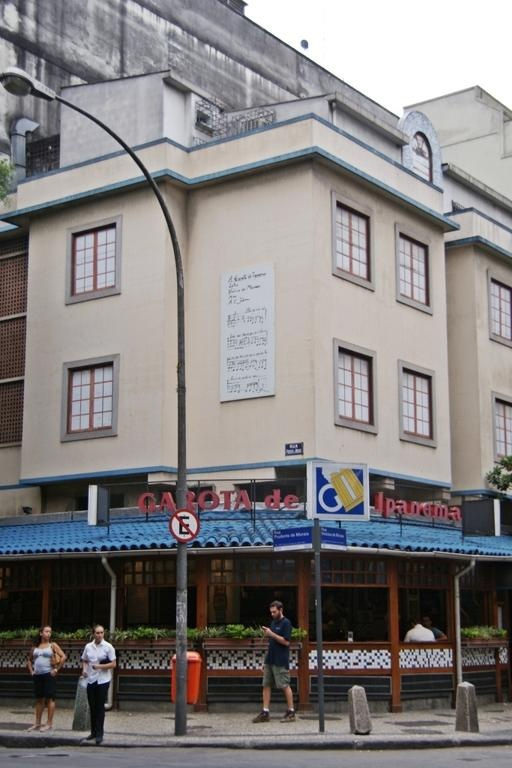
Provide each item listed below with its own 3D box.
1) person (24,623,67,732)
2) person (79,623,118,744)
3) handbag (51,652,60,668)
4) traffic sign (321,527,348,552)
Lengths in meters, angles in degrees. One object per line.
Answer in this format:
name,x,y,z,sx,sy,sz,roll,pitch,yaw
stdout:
person,-2.861,4.010,12.871,0.451,1.344,0.685,2,-12,-14
person,-1.949,3.726,11.692,0.381,1.397,0.640,1,-12,-12
handbag,-2.728,3.763,12.873,0.179,0.210,0.109,-2,-11,-3
traffic sign,1.064,2.094,12.793,0.239,0.294,0.909,-4,-13,13
